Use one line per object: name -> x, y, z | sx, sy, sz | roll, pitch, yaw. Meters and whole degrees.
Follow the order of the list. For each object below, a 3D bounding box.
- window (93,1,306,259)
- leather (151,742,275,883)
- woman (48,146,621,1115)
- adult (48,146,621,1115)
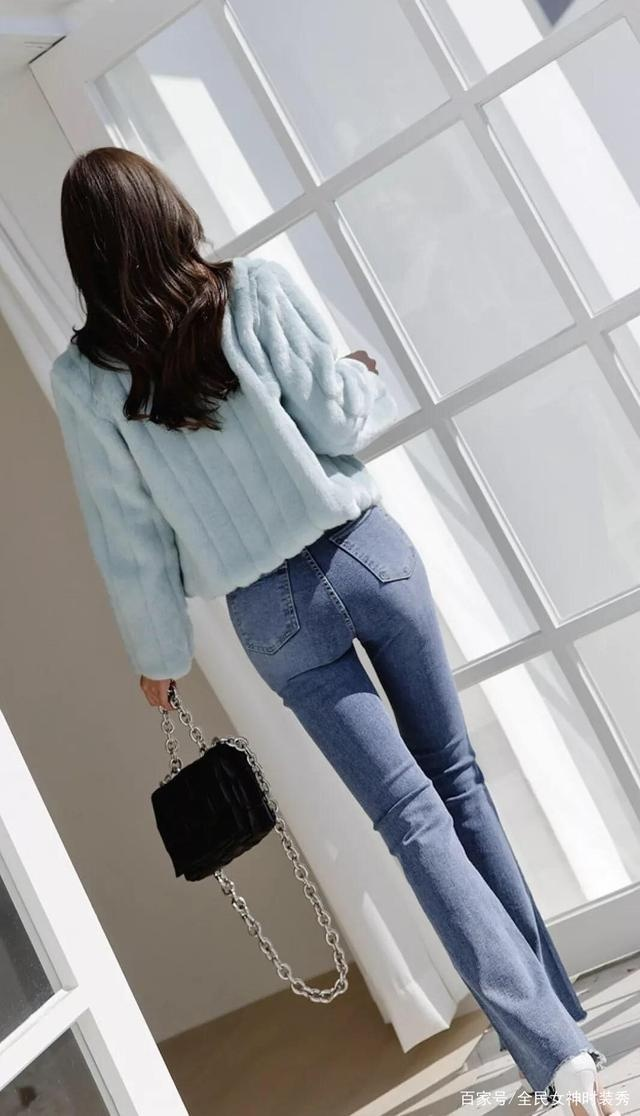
window -> -0.207, -0.797, 1.723 | 0.401, 0.434, 0.105 | -26, 6, 30
leather -> -0.162, 0.376, 1.388 | 0.156, 0.149, 0.087 | -36, -32, 16
woman -> -0.023, 0.119, 1.334 | 0.487, 1.164, 0.345 | -20, -8, -9
adult -> -0.023, 0.119, 1.334 | 0.487, 1.164, 0.345 | -20, -8, -9
